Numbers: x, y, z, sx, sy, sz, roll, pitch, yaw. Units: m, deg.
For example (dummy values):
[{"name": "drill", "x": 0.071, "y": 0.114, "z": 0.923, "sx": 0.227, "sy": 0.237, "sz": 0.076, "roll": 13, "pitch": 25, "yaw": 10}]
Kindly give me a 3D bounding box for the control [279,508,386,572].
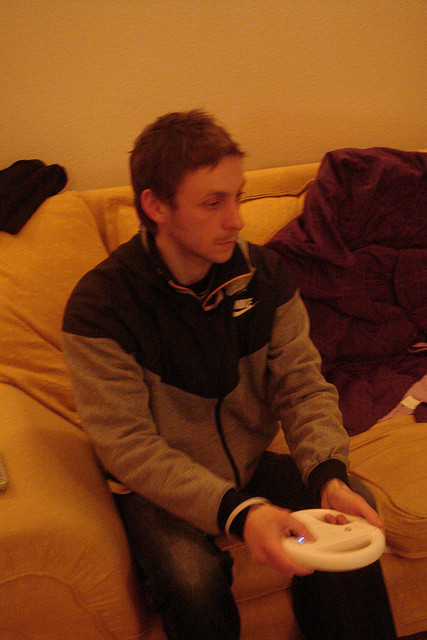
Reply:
[{"name": "control", "x": 0.162, "y": 0.301, "z": 0.732, "sx": 0.138, "sy": 0.053, "sz": 0.135, "roll": 1, "pitch": 20, "yaw": 9}]
